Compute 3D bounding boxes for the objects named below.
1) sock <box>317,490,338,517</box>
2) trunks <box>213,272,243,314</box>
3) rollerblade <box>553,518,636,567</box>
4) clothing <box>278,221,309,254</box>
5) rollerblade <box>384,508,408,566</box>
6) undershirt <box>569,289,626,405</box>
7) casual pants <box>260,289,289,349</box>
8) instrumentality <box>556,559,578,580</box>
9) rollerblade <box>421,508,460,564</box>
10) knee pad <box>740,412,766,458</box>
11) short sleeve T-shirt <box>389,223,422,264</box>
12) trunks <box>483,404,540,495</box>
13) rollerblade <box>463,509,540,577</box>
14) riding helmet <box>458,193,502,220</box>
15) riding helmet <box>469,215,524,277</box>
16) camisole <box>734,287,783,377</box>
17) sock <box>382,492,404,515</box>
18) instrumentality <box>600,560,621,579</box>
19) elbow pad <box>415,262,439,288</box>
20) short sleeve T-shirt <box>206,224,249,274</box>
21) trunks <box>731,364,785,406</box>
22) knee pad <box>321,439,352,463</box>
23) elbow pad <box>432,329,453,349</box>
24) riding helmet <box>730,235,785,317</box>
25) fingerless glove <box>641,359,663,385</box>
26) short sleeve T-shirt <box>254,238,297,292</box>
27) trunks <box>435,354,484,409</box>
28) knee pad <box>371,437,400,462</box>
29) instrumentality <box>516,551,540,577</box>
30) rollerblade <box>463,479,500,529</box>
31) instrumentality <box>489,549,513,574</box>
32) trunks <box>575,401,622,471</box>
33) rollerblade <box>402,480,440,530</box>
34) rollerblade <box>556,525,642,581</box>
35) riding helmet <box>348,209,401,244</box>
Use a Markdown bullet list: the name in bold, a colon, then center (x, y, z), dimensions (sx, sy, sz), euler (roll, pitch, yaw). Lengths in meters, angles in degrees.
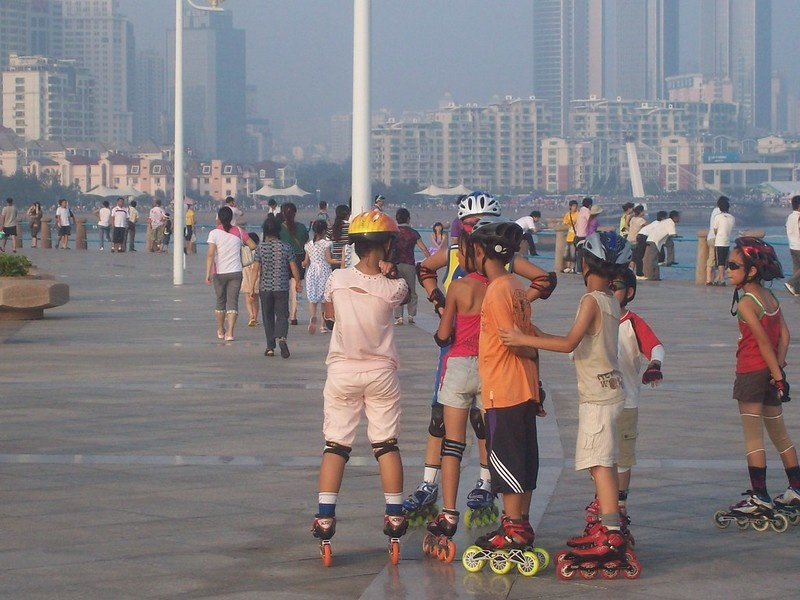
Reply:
- **sock**: center (-0.504, 1.448, 11.522), dimensions (0.167, 0.226, 0.177), euler (1, 0, 5)
- **trunks**: center (-2.174, -0.077, 20.571), dimensions (0.360, 0.628, 0.463), euler (-3, 13, -6)
- **rollerblade**: center (1.391, 1.721, 11.306), dimensions (0.633, 0.292, 0.223), euler (-1, -3, -4)
- **clothing**: center (-1.427, -0.829, 21.653), dimensions (0.495, 0.460, 0.271), euler (4, 10, 28)
- **rollerblade**: center (-0.027, 1.682, 11.538), dimensions (0.152, 0.362, 0.270), euler (4, 14, 20)
- **undershirt**: center (1.459, 0.378, 11.680), dimensions (0.376, 0.746, 0.439), euler (-6, -11, 10)
- **casual pants**: center (-1.472, 0.262, 19.243), dimensions (0.330, 0.673, 0.566), euler (-2, 13, -5)
- **instrumentality**: center (1.169, 1.887, 11.274), dimensions (0.137, 0.132, 0.049), euler (18, -17, -7)
- **rollerblade**: center (0.302, 1.693, 11.623), dimensions (0.258, 0.349, 0.290), euler (-1, 13, 0)
- **knee pad**: center (2.726, 1.023, 12.358), dimensions (0.177, 0.315, 0.257), euler (-1, 13, 3)
- **short sleeve T-shirt**: center (0.036, -0.703, 21.389), dimensions (0.540, 0.524, 0.295), euler (6, -4, -27)
- **trunks**: center (0.804, 1.058, 11.467), dimensions (0.375, 0.639, 0.305), euler (0, 13, 3)
- **rollerblade**: center (0.724, 1.727, 11.314), dimensions (0.507, 0.366, 0.363), euler (3, -4, 3)
- **riding helmet**: center (0.615, -0.709, 12.232), dimensions (0.323, 0.216, 0.394), euler (0, 13, 2)
- **riding helmet**: center (0.697, -0.387, 11.575), dimensions (0.334, 0.397, 0.420), euler (-1, 12, -20)
- **camisole**: center (2.763, 0.234, 12.449), dimensions (0.300, 0.607, 0.373), euler (0, 6, 44)
- **sock**: center (-0.036, 1.459, 11.566), dimensions (0.156, 0.201, 0.140), euler (0, -12, -6)
- **instrumentality**: center (1.493, 1.893, 11.317), dimensions (0.136, 0.135, 0.044), euler (15, -4, -7)
- **elbow pad**: center (0.215, -0.186, 12.565), dimensions (0.094, 0.106, 0.277), euler (8, 20, -12)
- **short sleeve T-shirt**: center (-2.179, -0.639, 20.429), dimensions (0.644, 0.602, 0.342), euler (-3, -4, -28)
- **trunks**: center (2.753, 0.663, 12.505), dimensions (0.320, 0.367, 0.463), euler (-8, 10, 14)
- **knee pad**: center (-0.446, 1.083, 11.654), dimensions (0.166, 0.096, 0.163), euler (13, -6, -17)
- **elbow pad**: center (0.326, 0.289, 11.912), dimensions (0.112, 0.108, 0.133), euler (3, 16, 1)
- **riding helmet**: center (2.819, -0.283, 12.521), dimensions (0.501, 0.510, 0.394), euler (10, 26, 25)
- **fingerless glove**: center (1.869, 0.540, 11.903), dimensions (0.137, 0.237, 0.330), euler (1, 13, 8)
- **short sleeve T-shirt**: center (-1.487, -0.409, 19.497), dimensions (0.463, 0.600, 0.469), euler (-2, 13, -4)
- **trunks**: center (0.395, 0.580, 12.034), dimensions (0.227, 0.383, 0.347), euler (11, 7, 28)
- **knee pad**: center (-0.091, 1.085, 11.677), dimensions (0.161, 0.102, 0.161), euler (-5, 1, 21)
- **instrumentality**: center (0.914, 1.859, 11.349), dimensions (0.170, 0.168, 0.060), euler (-28, -7, 7)
- **rollerblade**: center (0.690, 1.533, 12.258), dimensions (0.111, 0.276, 0.489), euler (8, -20, -40)
- **instrumentality**: center (0.725, 1.850, 11.346), dimensions (0.165, 0.165, 0.085), euler (0, 13, 3)
- **trunks**: center (1.433, 0.970, 11.508), dimensions (0.337, 0.547, 0.440), euler (2, -8, 30)
- **rollerblade**: center (0.170, 1.557, 12.237), dimensions (0.136, 0.288, 0.507), euler (0, 5, 42)
- **rollerblade**: center (1.410, 1.795, 11.429), dimensions (0.587, 0.364, 0.320), euler (2, -1, 0)
- **riding helmet**: center (-0.175, -0.532, 11.770), dimensions (0.306, 0.191, 0.224), euler (5, 0, -29)
